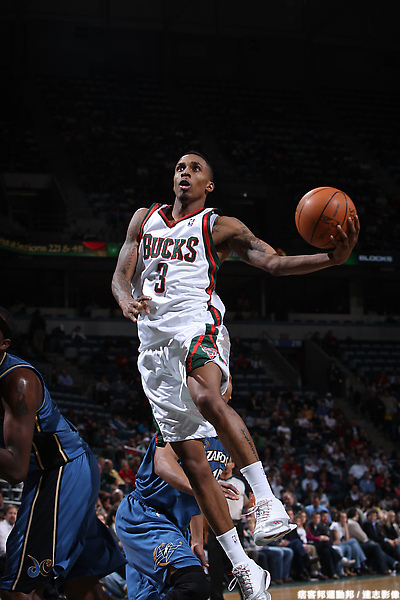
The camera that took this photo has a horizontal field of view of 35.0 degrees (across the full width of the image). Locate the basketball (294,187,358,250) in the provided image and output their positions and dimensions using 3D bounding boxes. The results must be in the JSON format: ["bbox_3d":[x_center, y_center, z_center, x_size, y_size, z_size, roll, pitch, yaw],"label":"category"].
[{"bbox_3d":[0.585,-0.393,2.966,0.267,0.295,0.167,-1,-5,8],"label":"basketball"}]

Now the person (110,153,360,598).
[{"bbox_3d":[0.030,0.179,2.996,0.858,2.034,1.156,2,-5,-26],"label":"person"}]
